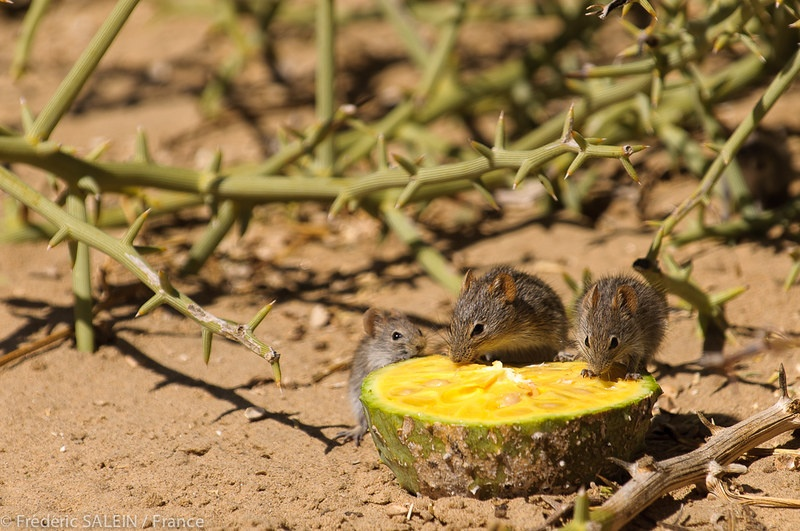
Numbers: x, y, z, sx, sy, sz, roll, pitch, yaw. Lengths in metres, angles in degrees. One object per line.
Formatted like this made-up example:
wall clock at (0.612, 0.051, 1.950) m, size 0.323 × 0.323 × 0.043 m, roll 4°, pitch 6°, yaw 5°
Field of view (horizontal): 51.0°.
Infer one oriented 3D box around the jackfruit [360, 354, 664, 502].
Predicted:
jackfruit at (0.627, 0.972, 5.183) m, size 1.760 × 0.658 × 0.891 m, roll 4°, pitch 38°, yaw 0°

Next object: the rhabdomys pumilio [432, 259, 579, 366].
rhabdomys pumilio at (0.749, 0.389, 5.871) m, size 0.507 × 0.607 × 0.899 m, roll 6°, pitch 17°, yaw 41°

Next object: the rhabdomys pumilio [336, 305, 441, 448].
rhabdomys pumilio at (-0.213, 0.723, 6.396) m, size 0.718 × 0.921 × 0.823 m, roll 7°, pitch 11°, yaw 26°

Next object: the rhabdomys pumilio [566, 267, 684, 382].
rhabdomys pumilio at (1.445, 0.395, 5.576) m, size 0.666 × 0.745 × 0.442 m, roll -3°, pitch 9°, yaw -41°
